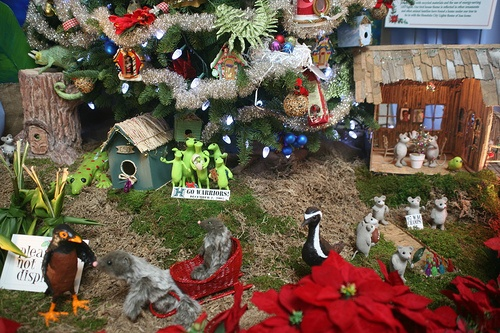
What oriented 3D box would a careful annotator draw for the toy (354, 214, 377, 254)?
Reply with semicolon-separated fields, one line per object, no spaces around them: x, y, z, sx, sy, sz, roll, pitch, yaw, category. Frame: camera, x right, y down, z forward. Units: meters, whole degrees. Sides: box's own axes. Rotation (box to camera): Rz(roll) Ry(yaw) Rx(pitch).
1.263;0.742;4.122;0.270;0.210;0.446;-2;60;43;toy

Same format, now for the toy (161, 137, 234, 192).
-0.681;-0.026;4.617;0.605;0.231;0.485;1;94;0;toy

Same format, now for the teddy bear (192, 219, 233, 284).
-0.351;0.782;3.591;0.345;0.178;0.594;10;76;1;teddy bear

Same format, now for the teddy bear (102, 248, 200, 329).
-0.951;1.144;3.452;1.049;0.126;0.489;28;77;5;teddy bear

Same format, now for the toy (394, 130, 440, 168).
2.315;-0.237;5.232;0.482;0.220;0.441;1;97;6;toy

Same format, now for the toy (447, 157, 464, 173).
2.693;-0.042;4.969;0.139;0.201;0.193;-13;30;-22;toy
